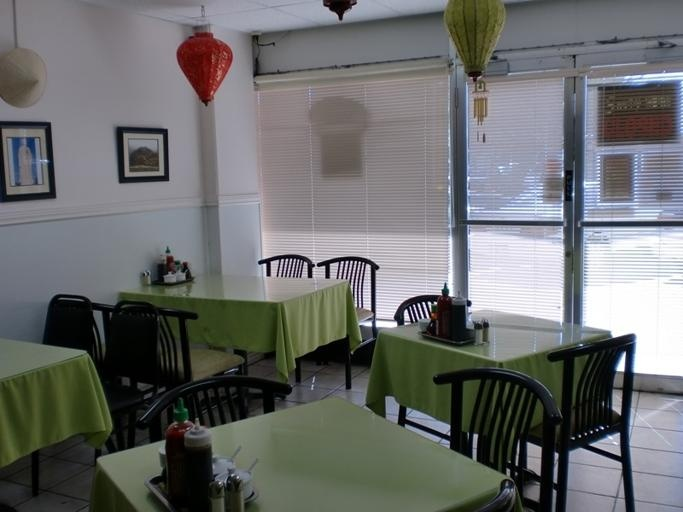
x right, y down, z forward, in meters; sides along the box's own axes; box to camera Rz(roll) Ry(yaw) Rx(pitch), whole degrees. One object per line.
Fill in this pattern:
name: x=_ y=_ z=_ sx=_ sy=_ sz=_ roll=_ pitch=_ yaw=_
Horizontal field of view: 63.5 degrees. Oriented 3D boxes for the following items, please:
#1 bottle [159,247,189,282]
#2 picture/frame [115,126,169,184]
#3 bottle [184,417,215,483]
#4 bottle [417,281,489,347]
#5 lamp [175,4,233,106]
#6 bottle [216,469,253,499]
bottle: x=-1.359 y=0.070 z=4.426 sx=0.248 sy=0.314 sz=0.220 roll=1 pitch=2 yaw=7
picture/frame: x=-1.600 y=-0.813 z=4.369 sx=0.034 sy=0.442 sz=0.450 roll=6 pitch=10 yaw=35
bottle: x=-0.423 y=0.592 z=1.627 sx=0.083 sy=0.174 sz=0.141 roll=-3 pitch=6 yaw=-16
bottle: x=0.612 y=0.311 z=2.982 sx=0.401 sy=0.323 sz=0.271 roll=0 pitch=0 yaw=42
lamp: x=-0.998 y=-1.514 z=4.155 sx=0.377 sy=0.809 sz=0.750 roll=-2 pitch=6 yaw=-5
bottle: x=-0.309 y=0.691 z=1.692 sx=0.083 sy=0.072 sz=0.100 roll=-3 pitch=-3 yaw=43
